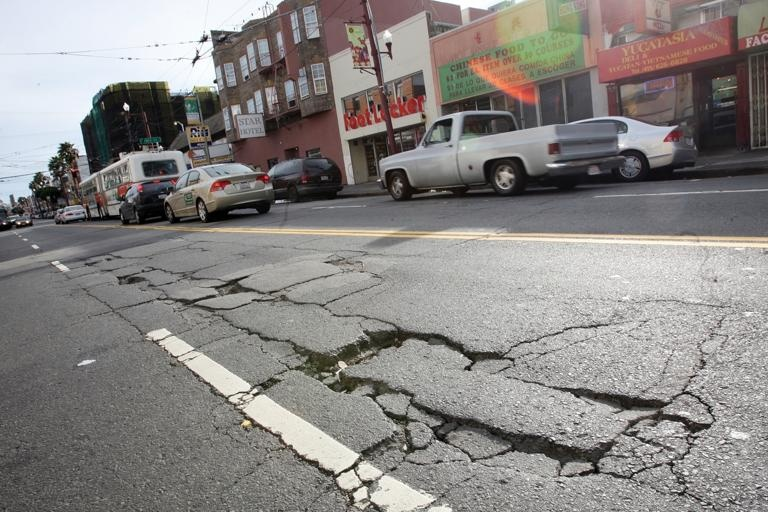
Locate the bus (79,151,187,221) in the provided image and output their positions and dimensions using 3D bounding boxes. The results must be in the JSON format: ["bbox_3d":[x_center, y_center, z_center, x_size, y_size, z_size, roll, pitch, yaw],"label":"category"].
[{"bbox_3d":[-17.563,-4.997,33.043,4.905,4.439,18.060,-6,11,-31],"label":"bus"}]

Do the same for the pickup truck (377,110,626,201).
[{"bbox_3d":[2.656,-2.575,12.715,5.400,1.700,2.511,9,17,42],"label":"pickup truck"}]
